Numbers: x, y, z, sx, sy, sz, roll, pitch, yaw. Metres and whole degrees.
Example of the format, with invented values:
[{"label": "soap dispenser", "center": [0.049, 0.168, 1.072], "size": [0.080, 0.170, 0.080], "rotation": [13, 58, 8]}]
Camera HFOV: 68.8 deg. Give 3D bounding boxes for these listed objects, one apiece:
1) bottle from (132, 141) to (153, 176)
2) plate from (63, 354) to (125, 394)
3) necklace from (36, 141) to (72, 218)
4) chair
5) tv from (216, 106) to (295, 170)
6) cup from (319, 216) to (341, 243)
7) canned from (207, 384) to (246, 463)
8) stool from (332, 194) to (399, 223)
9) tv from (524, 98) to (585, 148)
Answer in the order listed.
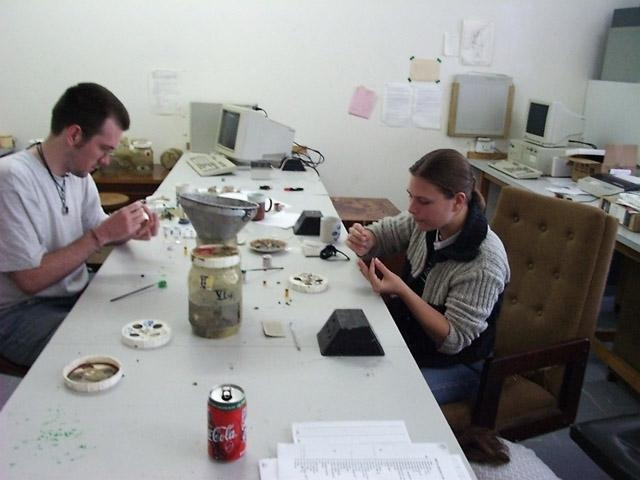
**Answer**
[{"label": "bottle", "center": [-1.452, -0.648, 3.690], "size": [0.130, 0.164, 0.239], "rotation": [-1, 19, -10]}, {"label": "plate", "center": [-0.621, 0.357, 1.248], "size": [0.150, 0.032, 0.125], "rotation": [13, 27, 23]}, {"label": "necklace", "center": [-1.034, -0.244, 1.829], "size": [0.061, 0.257, 0.146], "rotation": [-12, 9, -9]}, {"label": "chair", "center": [0.710, 0.257, 1.876], "size": [0.735, 0.822, 0.714], "rotation": [8, 16, 22]}, {"label": "tv", "center": [-0.502, -0.765, 3.451], "size": [0.514, 0.400, 0.526], "rotation": [-4, 22, -17]}, {"label": "cup", "center": [0.037, -0.051, 2.184], "size": [0.114, 0.116, 0.102], "rotation": [-2, 14, -25]}, {"label": "canned", "center": [-0.216, 0.414, 1.040], "size": [0.098, 0.160, 0.098], "rotation": [-12, 27, -34]}, {"label": "stool", "center": [0.291, -0.223, 3.267], "size": [0.339, 0.214, 0.186], "rotation": [0, 51, 1]}, {"label": "tv", "center": [1.895, -1.044, 3.802], "size": [0.363, 0.386, 0.529], "rotation": [-4, 17, -2]}]
